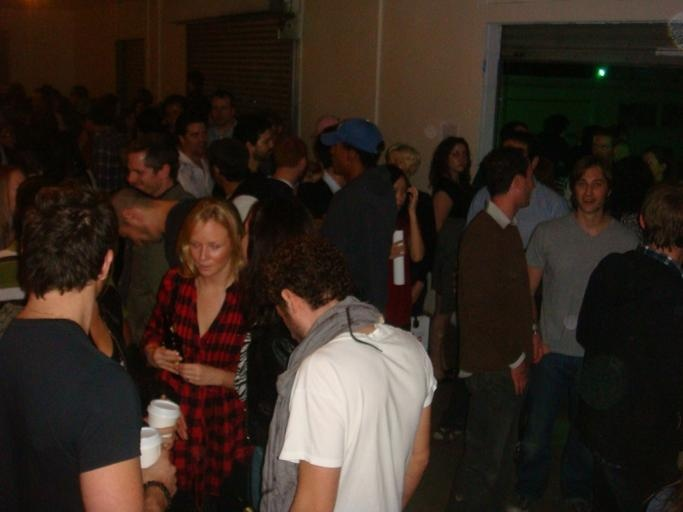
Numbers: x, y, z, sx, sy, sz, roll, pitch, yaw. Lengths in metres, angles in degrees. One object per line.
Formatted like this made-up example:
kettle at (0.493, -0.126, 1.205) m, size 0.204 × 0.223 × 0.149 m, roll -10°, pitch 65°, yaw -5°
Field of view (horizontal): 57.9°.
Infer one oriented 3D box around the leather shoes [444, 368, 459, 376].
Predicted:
leather shoes at (1.146, 1.189, 6.347) m, size 0.107 × 0.123 × 0.114 m, roll -1°, pitch -5°, yaw 5°

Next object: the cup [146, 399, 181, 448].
cup at (-0.870, 0.804, 3.030) m, size 0.170 × 0.202 × 0.186 m, roll 9°, pitch 12°, yaw -2°

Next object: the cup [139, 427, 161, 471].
cup at (-0.858, 0.869, 2.793) m, size 0.080 × 0.196 × 0.160 m, roll 0°, pitch 8°, yaw -14°

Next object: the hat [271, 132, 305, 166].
hat at (-0.420, -0.879, 5.155) m, size 0.294 × 0.271 × 0.217 m, roll -1°, pitch 8°, yaw -17°

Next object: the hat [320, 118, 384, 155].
hat at (0.080, -0.865, 4.419) m, size 0.369 × 0.238 × 0.274 m, roll 25°, pitch 25°, yaw 3°
